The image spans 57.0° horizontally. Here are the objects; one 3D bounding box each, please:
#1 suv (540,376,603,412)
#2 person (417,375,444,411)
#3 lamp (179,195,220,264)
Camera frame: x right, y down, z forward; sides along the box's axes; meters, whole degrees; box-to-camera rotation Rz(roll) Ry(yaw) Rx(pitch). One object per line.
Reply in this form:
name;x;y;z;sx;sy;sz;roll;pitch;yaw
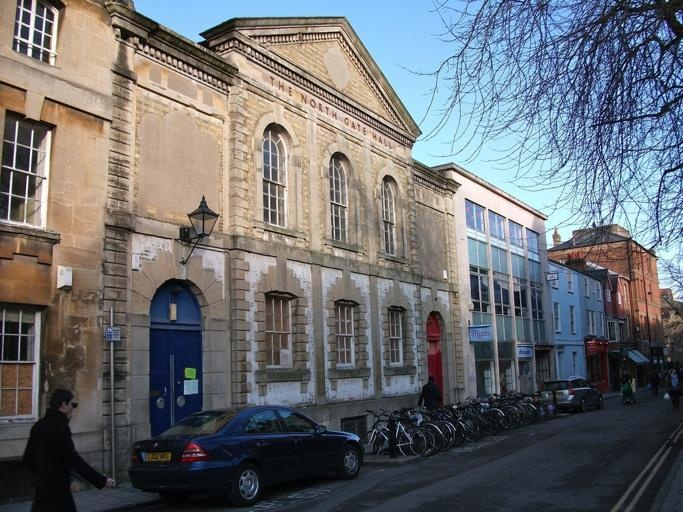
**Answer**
suv;11.912;7.157;32.318;3.891;1.698;1.344;5;-8;-41
person;2.990;4.849;21.351;0.681;1.668;0.456;0;16;4
lamp;-3.885;-0.728;17.381;0.901;1.929;1.079;-2;-6;14
